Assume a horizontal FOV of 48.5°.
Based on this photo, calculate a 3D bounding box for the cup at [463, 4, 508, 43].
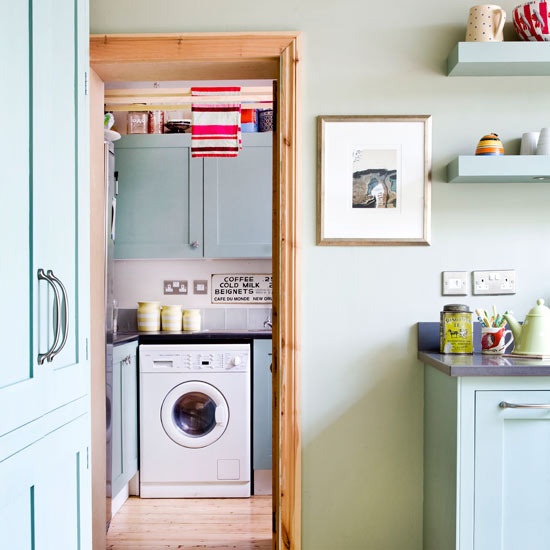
[{"bbox_3d":[0.770,-0.919,2.229,0.125,0.130,0.061,3,4,14],"label":"cup"}]

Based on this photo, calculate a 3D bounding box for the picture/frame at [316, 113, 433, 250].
[{"bbox_3d":[0.377,-0.366,2.323,0.430,0.500,0.040,1,4,-2],"label":"picture/frame"}]

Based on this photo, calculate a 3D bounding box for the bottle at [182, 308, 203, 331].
[{"bbox_3d":[-0.498,0.270,3.688,0.104,0.147,0.112,1,-3,0],"label":"bottle"}]

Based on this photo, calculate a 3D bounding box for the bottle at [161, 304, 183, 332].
[{"bbox_3d":[-0.622,0.260,3.666,0.127,0.156,0.139,1,5,-11],"label":"bottle"}]

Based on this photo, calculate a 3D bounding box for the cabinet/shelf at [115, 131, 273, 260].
[{"bbox_3d":[-0.533,-0.451,3.798,0.946,0.734,0.357,3,4,2],"label":"cabinet/shelf"}]

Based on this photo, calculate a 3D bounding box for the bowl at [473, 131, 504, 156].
[{"bbox_3d":[0.800,-0.479,2.278,0.079,0.106,0.092,0,-1,-1],"label":"bowl"}]

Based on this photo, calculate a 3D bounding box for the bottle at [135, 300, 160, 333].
[{"bbox_3d":[-0.762,0.244,3.673,0.131,0.177,0.264,1,5,-12],"label":"bottle"}]

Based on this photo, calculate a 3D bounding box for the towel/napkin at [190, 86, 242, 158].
[{"bbox_3d":[-0.296,-0.775,3.052,0.304,0.483,0.037,-3,25,-9],"label":"towel/napkin"}]
